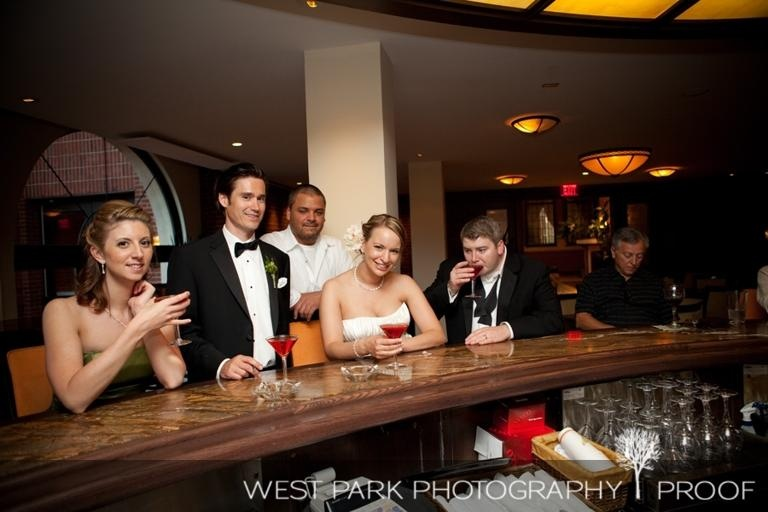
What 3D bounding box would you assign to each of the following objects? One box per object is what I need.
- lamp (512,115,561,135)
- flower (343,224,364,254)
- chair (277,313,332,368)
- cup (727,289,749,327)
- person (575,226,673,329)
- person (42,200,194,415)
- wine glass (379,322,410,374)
[{"bbox_3d":[2.094,-1.845,7.367,0.604,0.239,0.371,0,13,12],"label":"lamp"},{"bbox_3d":[-0.239,-0.137,4.334,0.245,0.237,0.142,7,-2,-11],"label":"flower"},{"bbox_3d":[-0.607,0.639,4.060,0.343,0.578,0.348,0,-15,-18],"label":"chair"},{"bbox_3d":[2.556,0.351,3.850,0.102,0.233,0.306,6,15,33],"label":"cup"},{"bbox_3d":[2.433,0.262,5.351,1.086,1.040,0.717,-3,14,2],"label":"person"},{"bbox_3d":[-1.618,0.239,3.135,0.748,1.088,0.651,-12,15,-33],"label":"person"},{"bbox_3d":[0.071,0.556,3.338,0.230,0.274,0.235,0,-3,0],"label":"wine glass"}]
